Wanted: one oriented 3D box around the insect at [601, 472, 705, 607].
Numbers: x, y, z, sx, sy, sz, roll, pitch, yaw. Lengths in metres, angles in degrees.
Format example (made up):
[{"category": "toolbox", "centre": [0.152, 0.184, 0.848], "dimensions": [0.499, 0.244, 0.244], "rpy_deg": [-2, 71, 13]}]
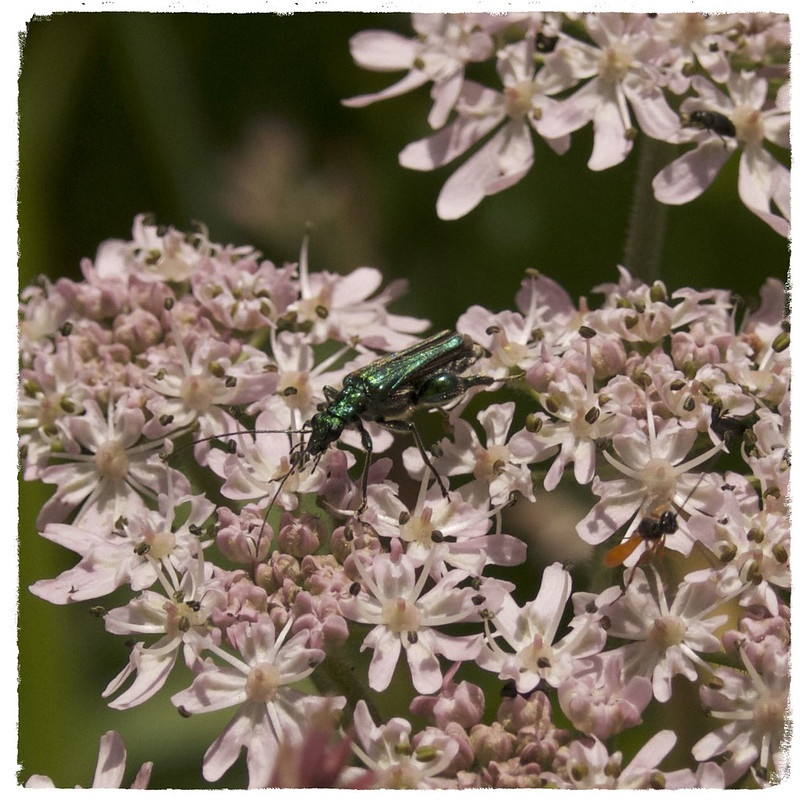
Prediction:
[{"category": "insect", "centre": [0.980, 0.563, 4.546], "dimensions": [0.387, 0.385, 0.141], "rpy_deg": [-6, -2, -29]}]
